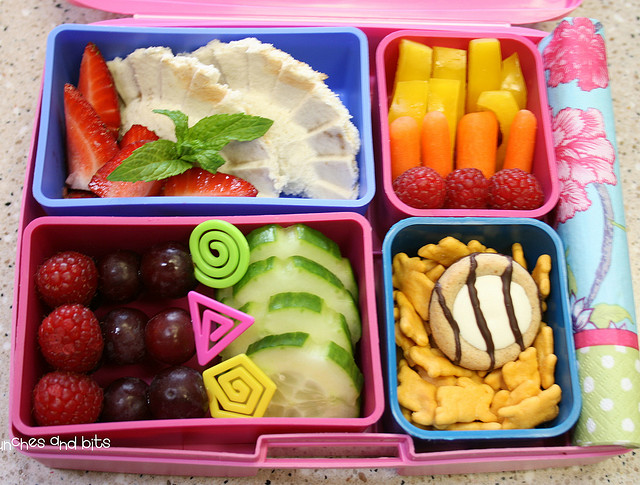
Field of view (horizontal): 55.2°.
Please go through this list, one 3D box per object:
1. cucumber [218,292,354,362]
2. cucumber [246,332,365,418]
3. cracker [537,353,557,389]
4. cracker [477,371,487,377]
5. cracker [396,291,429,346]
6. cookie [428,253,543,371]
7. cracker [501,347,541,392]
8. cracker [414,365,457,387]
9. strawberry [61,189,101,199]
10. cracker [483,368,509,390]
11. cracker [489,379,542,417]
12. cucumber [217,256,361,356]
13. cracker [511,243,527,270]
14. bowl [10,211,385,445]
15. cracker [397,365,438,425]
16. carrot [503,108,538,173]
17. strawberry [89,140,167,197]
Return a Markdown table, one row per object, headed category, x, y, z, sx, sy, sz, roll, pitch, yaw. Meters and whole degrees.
| category | x | y | z | sx | sy | sz | roll | pitch | yaw |
| --- | --- | --- | --- | --- | --- | --- | --- | --- | --- |
| cucumber | -0.092 | 0.219 | 1.548 | 0.226 | 0.049 | 0.174 | -4 | 93 | 0 |
| cucumber | -0.046 | 0.335 | 1.538 | 0.280 | 0.084 | 0.208 | 0 | 79 | 2 |
| cracker | 0.588 | 0.332 | 1.581 | 0.031 | 0.048 | 0.076 | 5 | 92 | -39 |
| cracker | 0.425 | 0.345 | 1.609 | 0.018 | 0.009 | 0.015 | 9 | 116 | 1 |
| cracker | 0.240 | 0.204 | 1.630 | 0.068 | 0.057 | 0.153 | -17 | 79 | 0 |
| cookie | 0.422 | 0.176 | 1.581 | 0.339 | 0.096 | 0.280 | -7 | 87 | -6 |
| cracker | 0.517 | 0.325 | 1.580 | 0.129 | 0.033 | 0.103 | -20 | 90 | -13 |
| cracker | 0.310 | 0.353 | 1.590 | 0.056 | 0.078 | 0.017 | 24 | 92 | -32 |
| strawberry | -0.693 | -0.137 | 1.735 | 0.054 | 0.054 | 0.027 | 7 | 112 | 17 |
| cracker | 0.468 | 0.353 | 1.597 | 0.064 | 0.020 | 0.051 | -1 | 92 | -1 |
| cracker | 0.501 | 0.398 | 1.561 | 0.128 | 0.029 | 0.075 | -37 | 63 | -7 |
| cucumber | -0.071 | 0.124 | 1.488 | 0.309 | 0.070 | 0.251 | -23 | 93 | 3 |
| cracker | 0.546 | 0.041 | 1.691 | 0.031 | 0.026 | 0.079 | -8 | 75 | 5 |
| bowl | -0.297 | 0.228 | 1.593 | 0.897 | 0.247 | 0.592 | -2 | 79 | 2 |
| cracker | 0.249 | 0.390 | 1.571 | 0.101 | 0.075 | 0.140 | 1 | 79 | 3 |
| carrot | 0.627 | -0.299 | 1.946 | 0.122 | 0.361 | 0.099 | 9 | 79 | 16 |
| strawberry | -0.542 | -0.186 | 1.670 | 0.199 | 0.049 | 0.158 | 2 | 94 | -27 |
